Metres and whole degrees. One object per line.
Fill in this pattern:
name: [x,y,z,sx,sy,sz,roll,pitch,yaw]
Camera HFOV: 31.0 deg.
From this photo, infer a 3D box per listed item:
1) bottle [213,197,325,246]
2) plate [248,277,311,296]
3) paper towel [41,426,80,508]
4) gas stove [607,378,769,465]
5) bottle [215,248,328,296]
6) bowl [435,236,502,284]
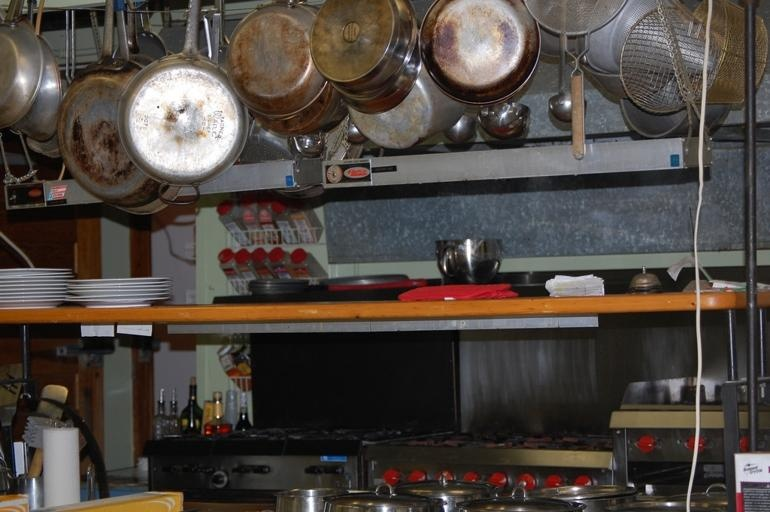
bottle: [-0.515,-0.134,6.420,0.421,0.237,0.434,4,-17,1]
plate: [-0.451,0.129,5.861,0.247,0.099,0.161,-5,-9,10]
paper towel: [-1.126,0.730,4.815,0.117,0.268,0.149,0,-9,-15]
gas stove: [1.126,0.677,5.460,0.578,0.394,0.432,-4,-11,20]
bottle: [-0.486,0.067,6.194,0.254,0.086,0.230,-5,-31,18]
bowl: [0.335,0.026,5.372,0.261,0.198,0.290,-1,1,13]
